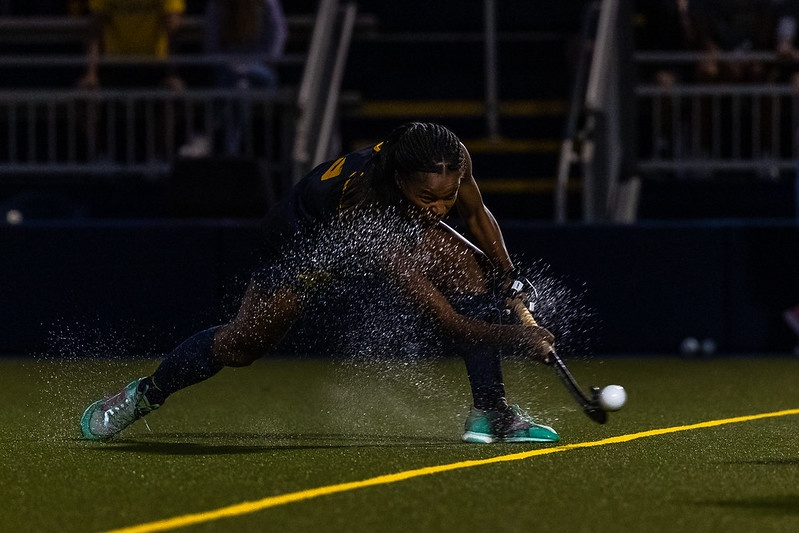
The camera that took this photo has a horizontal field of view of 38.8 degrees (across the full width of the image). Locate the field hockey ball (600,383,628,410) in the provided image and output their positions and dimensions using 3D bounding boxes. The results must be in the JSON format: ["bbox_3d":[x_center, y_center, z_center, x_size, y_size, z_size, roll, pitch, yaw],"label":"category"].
[{"bbox_3d":[1.202,0.701,6.335,0.127,0.156,0.135,11,-37,8],"label":"field hockey ball"}]

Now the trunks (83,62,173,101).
[{"bbox_3d":[-2.884,-2.001,12.077,0.956,0.304,0.565,1,7,13],"label":"trunks"}]

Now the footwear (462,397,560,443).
[{"bbox_3d":[0.656,0.944,6.786,0.578,0.268,0.221,0,-11,16],"label":"footwear"}]

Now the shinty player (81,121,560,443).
[{"bbox_3d":[-0.545,0.149,6.729,2.969,1.978,1.253,0,15,22],"label":"shinty player"}]

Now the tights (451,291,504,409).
[{"bbox_3d":[0.486,0.492,6.808,0.378,0.694,0.285,-7,13,-21],"label":"tights"}]
